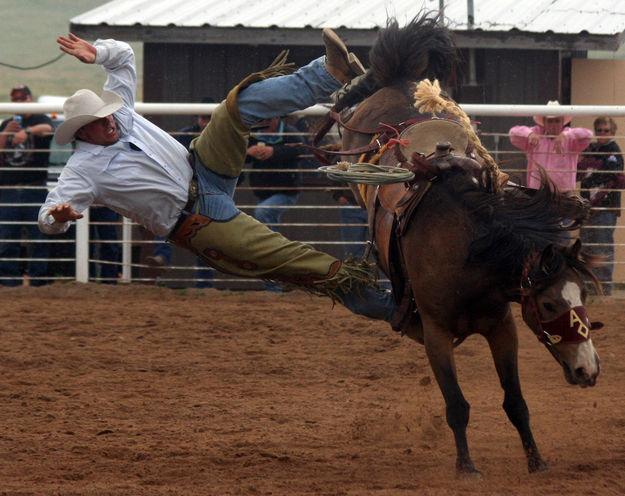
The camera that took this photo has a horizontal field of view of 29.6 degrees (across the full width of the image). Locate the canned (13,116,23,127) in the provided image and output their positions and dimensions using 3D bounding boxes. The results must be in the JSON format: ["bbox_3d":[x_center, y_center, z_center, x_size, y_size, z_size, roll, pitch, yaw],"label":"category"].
[{"bbox_3d":[-2.797,-1.213,11.287,0.046,0.089,0.105,2,5,16],"label":"canned"}]

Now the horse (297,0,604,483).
[{"bbox_3d":[1.000,0.017,8.995,1.383,4.279,2.476,-22,-37,-5],"label":"horse"}]

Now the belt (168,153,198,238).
[{"bbox_3d":[-0.890,-0.301,8.214,0.146,0.417,0.388,-13,21,-30],"label":"belt"}]

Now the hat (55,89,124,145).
[{"bbox_3d":[-1.525,-0.897,8.092,0.476,0.375,0.288,0,5,-9],"label":"hat"}]

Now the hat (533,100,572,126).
[{"bbox_3d":[2.258,-1.287,11.061,0.339,0.110,0.336,1,-4,2],"label":"hat"}]
